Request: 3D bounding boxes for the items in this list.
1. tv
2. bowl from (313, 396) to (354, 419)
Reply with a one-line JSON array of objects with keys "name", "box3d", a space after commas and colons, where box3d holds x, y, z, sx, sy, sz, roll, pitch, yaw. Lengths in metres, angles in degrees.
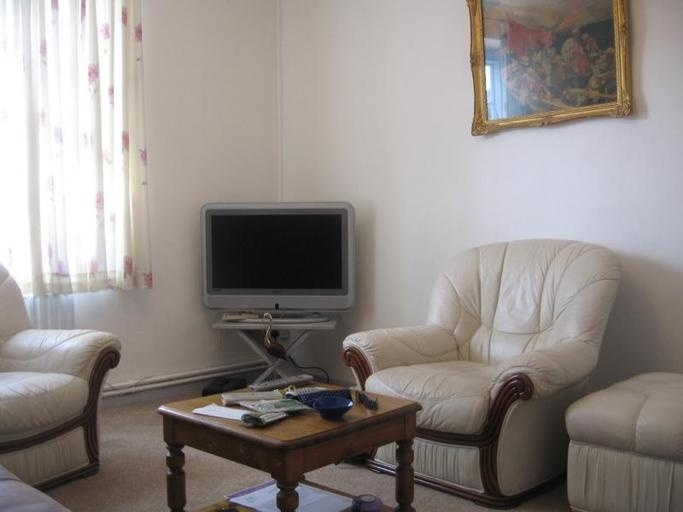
[{"name": "tv", "box3d": [-0.490, 0.028, 4.716, 1.556, 1.131, 0.801, 0, 2, 9]}, {"name": "bowl", "box3d": [-0.039, 0.616, 2.317, 0.154, 0.075, 0.092, -3, 8, 1]}]
